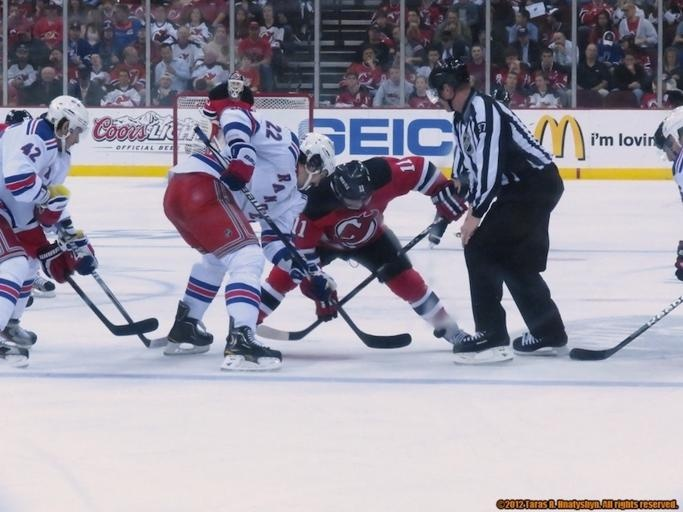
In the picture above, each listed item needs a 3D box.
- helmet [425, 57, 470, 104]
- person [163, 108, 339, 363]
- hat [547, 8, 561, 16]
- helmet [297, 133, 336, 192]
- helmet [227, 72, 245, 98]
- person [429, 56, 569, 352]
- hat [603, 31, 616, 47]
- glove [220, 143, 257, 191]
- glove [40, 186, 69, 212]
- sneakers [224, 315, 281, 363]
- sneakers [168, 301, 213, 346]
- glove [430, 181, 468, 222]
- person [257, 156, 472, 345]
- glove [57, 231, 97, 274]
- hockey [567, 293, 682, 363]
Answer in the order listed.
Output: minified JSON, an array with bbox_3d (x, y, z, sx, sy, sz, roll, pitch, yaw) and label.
[{"bbox_3d":[0.505,-0.810,5.001,0.218,0.203,0.166,-4,13,26],"label":"helmet"},{"bbox_3d":[-0.404,-0.101,5.006,0.692,1.162,0.673,-12,17,-42],"label":"person"},{"bbox_3d":[2.638,-2.985,13.130,0.135,0.063,0.075,6,23,11],"label":"hat"},{"bbox_3d":[-0.149,-0.455,5.056,0.241,0.228,0.193,3,3,-32],"label":"helmet"},{"bbox_3d":[-0.498,-0.816,5.119,0.099,0.117,0.127,0,25,-5],"label":"helmet"},{"bbox_3d":[0.736,-0.207,4.945,0.686,1.376,0.475,2,13,10],"label":"person"},{"bbox_3d":[3.336,-2.646,13.200,0.147,0.196,0.114,7,-2,17],"label":"hat"},{"bbox_3d":[-0.466,-0.403,4.911,0.140,0.212,0.125,2,13,7],"label":"glove"},{"bbox_3d":[-1.322,-0.269,4.945,0.126,0.099,0.134,-1,-26,-33],"label":"glove"},{"bbox_3d":[-0.405,0.394,4.839,0.317,0.203,0.102,11,-6,-29],"label":"sneakers"},{"bbox_3d":[-0.710,0.342,5.140,0.093,0.199,0.272,18,4,44],"label":"sneakers"},{"bbox_3d":[0.529,-0.260,5.139,0.160,0.195,0.086,-39,5,11],"label":"glove"},{"bbox_3d":[0.045,0.010,5.042,1.162,1.074,0.712,-1,29,3],"label":"person"},{"bbox_3d":[-1.246,-0.016,5.165,0.146,0.234,0.104,-17,17,27],"label":"glove"},{"bbox_3d":[1.381,0.327,5.030,0.639,0.268,0.281,-9,15,-38],"label":"hockey"}]
